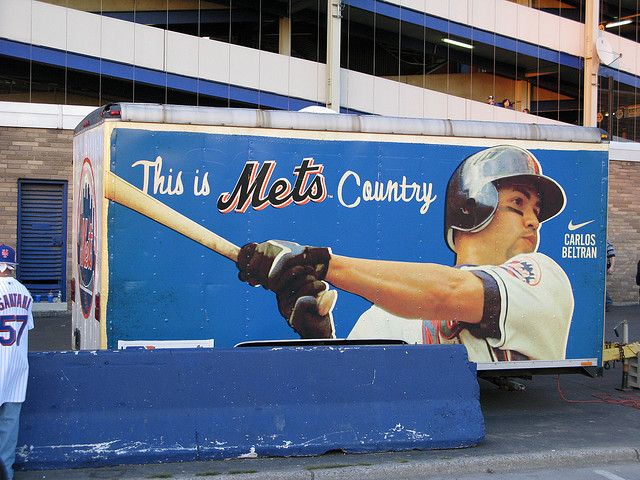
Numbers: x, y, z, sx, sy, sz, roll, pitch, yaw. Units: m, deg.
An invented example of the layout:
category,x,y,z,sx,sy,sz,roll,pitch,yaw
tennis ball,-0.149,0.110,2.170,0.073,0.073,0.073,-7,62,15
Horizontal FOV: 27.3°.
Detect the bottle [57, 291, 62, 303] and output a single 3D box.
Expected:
category,x,y,z,sx,sy,sz,roll,pitch,yaw
bottle,-7.356,1.635,37.379,0.124,0.301,0.298,-1,-2,-11
